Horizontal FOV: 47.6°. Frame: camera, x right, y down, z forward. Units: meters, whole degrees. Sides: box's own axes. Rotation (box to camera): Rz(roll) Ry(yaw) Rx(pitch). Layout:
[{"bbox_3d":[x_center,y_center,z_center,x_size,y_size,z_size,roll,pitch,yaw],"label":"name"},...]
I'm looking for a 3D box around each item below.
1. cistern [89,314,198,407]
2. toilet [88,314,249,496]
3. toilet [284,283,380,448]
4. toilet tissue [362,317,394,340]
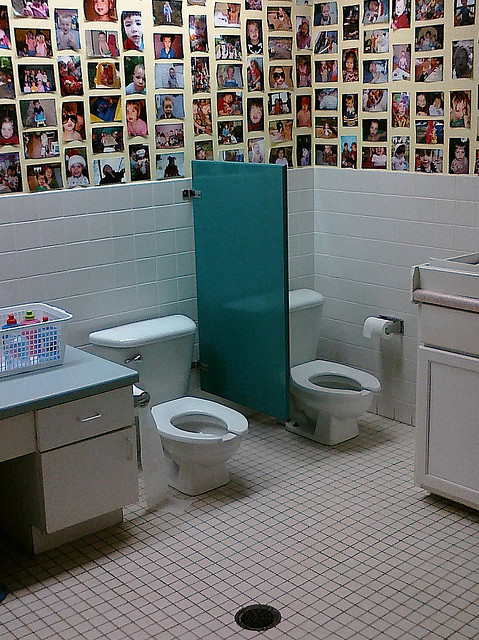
[{"bbox_3d":[-0.446,0.234,2.703,0.519,0.438,0.314,-14,21,-38],"label":"cistern"},{"bbox_3d":[-0.279,0.408,2.493,0.576,0.623,0.797,-9,18,-40],"label":"toilet"},{"bbox_3d":[0.448,0.264,2.930,0.404,0.699,0.671,-10,16,-36],"label":"toilet"},{"bbox_3d":[0.758,0.019,2.959,0.113,0.132,0.155,-19,23,-38],"label":"toilet tissue"}]
